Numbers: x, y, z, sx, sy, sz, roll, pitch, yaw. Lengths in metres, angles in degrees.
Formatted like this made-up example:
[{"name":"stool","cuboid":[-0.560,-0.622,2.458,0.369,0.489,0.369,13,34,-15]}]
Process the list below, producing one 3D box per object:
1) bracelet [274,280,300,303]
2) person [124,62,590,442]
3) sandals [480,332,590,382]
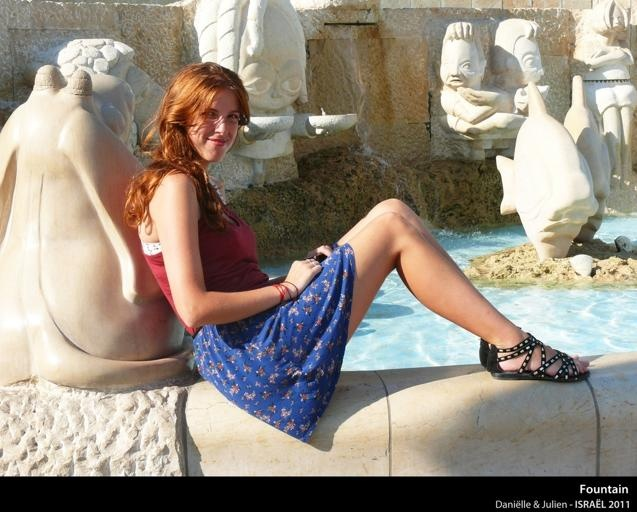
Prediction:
[{"name":"bracelet","cuboid":[-0.121,0.141,3.738,0.056,0.043,0.104,2,17,-9]},{"name":"person","cuboid":[0.149,-0.074,3.866,1.762,1.583,0.900,-3,8,13]},{"name":"sandals","cuboid":[0.885,0.416,3.819,0.370,0.179,0.192,-1,3,1]}]
